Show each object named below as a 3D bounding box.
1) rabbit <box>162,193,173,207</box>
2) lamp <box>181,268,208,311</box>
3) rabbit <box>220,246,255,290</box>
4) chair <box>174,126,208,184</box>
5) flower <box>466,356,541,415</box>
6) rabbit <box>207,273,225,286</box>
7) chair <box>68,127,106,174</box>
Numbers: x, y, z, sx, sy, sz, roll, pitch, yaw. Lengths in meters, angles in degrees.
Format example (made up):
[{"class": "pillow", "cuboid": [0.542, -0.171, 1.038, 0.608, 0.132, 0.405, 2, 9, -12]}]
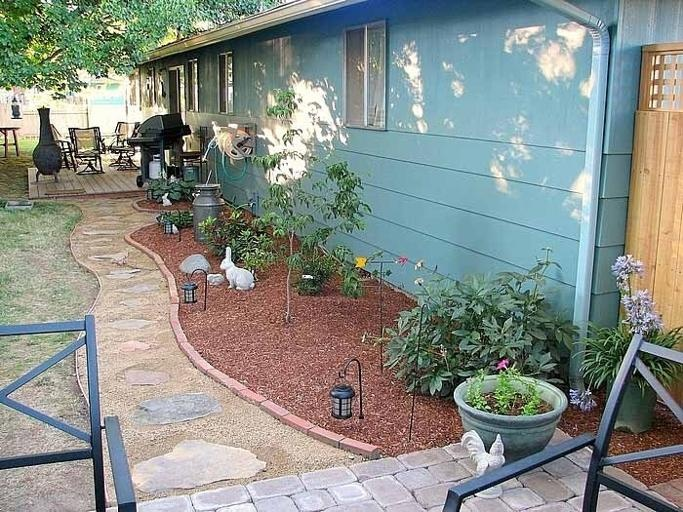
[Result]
[{"class": "rabbit", "cuboid": [-4.368, -1.384, 12.076, 0.211, 0.303, 0.317, 21, 23, 39]}, {"class": "lamp", "cuboid": [-1.927, 0.462, 6.386, 0.361, 0.557, 0.180, -2, 3, 1]}, {"class": "rabbit", "cuboid": [-1.525, 0.160, 6.948, 0.513, 0.649, 0.299, 0, 14, 10]}, {"class": "chair", "cuboid": [-4.272, -2.818, 13.674, 1.228, 2.235, 1.378, -3, 14, -19]}, {"class": "flower", "cuboid": [1.156, 0.980, 3.440, 0.434, 0.184, 0.411, 11, 18, 41]}, {"class": "rabbit", "cuboid": [-1.862, 0.343, 7.081, 0.185, 0.071, 0.179, -3, 23, -12]}, {"class": "chair", "cuboid": [-8.563, -3.497, 16.270, 1.269, 1.545, 1.277, -2, 14, 3]}]
